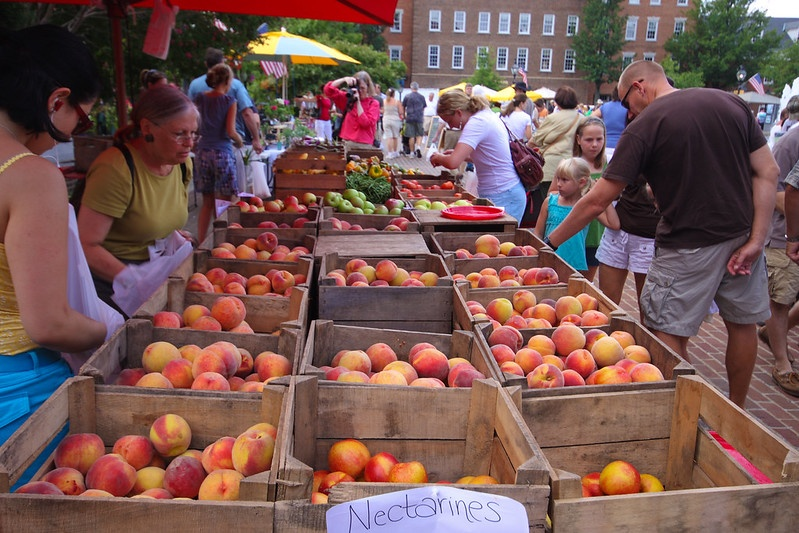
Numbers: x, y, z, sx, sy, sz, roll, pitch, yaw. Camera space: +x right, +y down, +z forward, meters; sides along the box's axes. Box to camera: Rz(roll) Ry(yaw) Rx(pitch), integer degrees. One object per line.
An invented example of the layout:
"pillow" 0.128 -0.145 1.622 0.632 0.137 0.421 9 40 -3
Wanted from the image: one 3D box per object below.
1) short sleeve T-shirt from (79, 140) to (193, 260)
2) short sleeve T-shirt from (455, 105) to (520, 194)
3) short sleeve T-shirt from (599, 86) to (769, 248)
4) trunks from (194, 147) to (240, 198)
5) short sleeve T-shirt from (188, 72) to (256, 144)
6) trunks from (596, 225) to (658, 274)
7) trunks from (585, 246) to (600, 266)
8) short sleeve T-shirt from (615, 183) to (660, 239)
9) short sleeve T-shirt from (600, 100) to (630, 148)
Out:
"short sleeve T-shirt" -1.907 -0.486 4.497 0.509 0.880 0.934 17 18 15
"short sleeve T-shirt" 1.146 -1.315 6.959 0.850 0.835 0.435 11 -21 -41
"short sleeve T-shirt" 2.213 -0.712 4.484 1.387 1.182 0.528 -9 6 -9
"trunks" -2.808 -1.461 8.906 0.667 0.828 0.451 -3 30 -17
"short sleeve T-shirt" -2.560 -2.597 9.446 0.476 0.873 0.829 -29 35 -35
"trunks" 2.279 -0.217 5.917 0.484 0.461 0.306 8 23 24
"trunks" 2.172 -0.118 6.710 0.182 0.209 0.185 -6 14 -20
"short sleeve T-shirt" 2.208 -0.523 5.457 0.488 0.490 0.290 -1 12 28
"short sleeve T-shirt" 3.538 -2.323 9.483 0.389 0.713 0.580 -24 18 -31
